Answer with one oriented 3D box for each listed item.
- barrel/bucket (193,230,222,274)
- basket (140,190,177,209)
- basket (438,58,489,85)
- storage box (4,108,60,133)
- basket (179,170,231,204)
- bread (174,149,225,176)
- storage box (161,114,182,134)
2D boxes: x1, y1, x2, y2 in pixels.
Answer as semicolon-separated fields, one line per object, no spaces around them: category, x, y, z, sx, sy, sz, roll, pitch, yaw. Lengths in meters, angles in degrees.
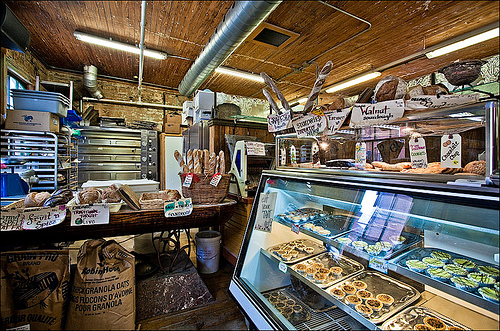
barrel/bucket;-0.578;1.162;3.884;0.341;0.475;0.388;1;4;-9
basket;-1.023;0.354;3.202;0.437;0.177;0.483;1;3;-18
basket;1.777;-0.729;2.358;0.285;0.145;0.264;2;10;44
storage box;-3.239;-0.651;4.160;0.389;0.201;0.355;2;-3;-1
basket;-0.549;0.255;3.317;0.448;0.234;0.454;5;-9;-39
bread;-0.561;-0.032;3.342;0.396;0.466;0.446;0;0;38
storage box;-1.977;-1.057;7.235;0.539;0.606;0.517;0;9;-20
